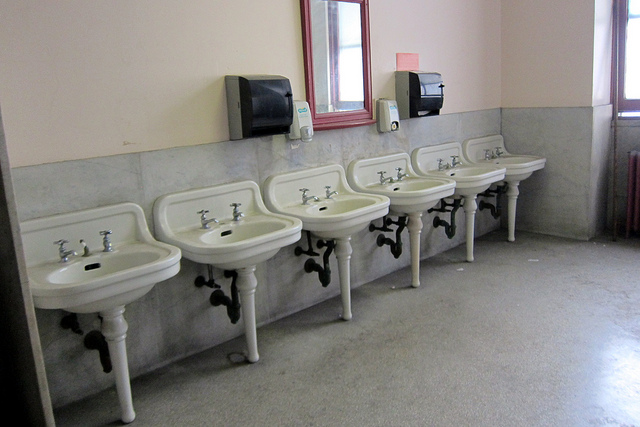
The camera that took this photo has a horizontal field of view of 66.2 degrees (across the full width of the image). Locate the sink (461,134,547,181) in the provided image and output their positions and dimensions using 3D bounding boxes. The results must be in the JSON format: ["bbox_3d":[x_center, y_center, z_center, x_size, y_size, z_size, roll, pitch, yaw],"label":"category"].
[{"bbox_3d":[1.989,-0.607,5.328,0.869,0.416,0.886,5,18,21],"label":"sink"}]

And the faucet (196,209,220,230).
[{"bbox_3d":[-0.806,0.048,3.470,0.164,0.114,0.093,10,16,38],"label":"faucet"}]

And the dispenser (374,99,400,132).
[{"bbox_3d":[0.596,-0.889,4.435,0.228,0.314,0.187,-14,17,-38],"label":"dispenser"}]

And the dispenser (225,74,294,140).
[{"bbox_3d":[-0.495,-0.814,3.667,0.525,0.462,0.308,-9,20,-41],"label":"dispenser"}]

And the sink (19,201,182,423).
[{"bbox_3d":[-1.260,0.621,3.079,0.817,1.301,0.584,-16,18,-28],"label":"sink"}]

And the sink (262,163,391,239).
[{"bbox_3d":[0.040,-0.091,3.836,0.645,0.473,0.925,12,21,37],"label":"sink"}]

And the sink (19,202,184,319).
[{"bbox_3d":[-1.347,0.357,2.999,0.903,0.582,0.615,-12,24,-43],"label":"sink"}]

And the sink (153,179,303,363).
[{"bbox_3d":[-0.705,0.235,3.606,1.052,1.270,0.833,-11,22,-42],"label":"sink"}]

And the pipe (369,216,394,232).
[{"bbox_3d":[0.547,0.097,4.434,0.217,0.214,0.098,3,9,33],"label":"pipe"}]

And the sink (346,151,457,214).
[{"bbox_3d":[0.760,-0.257,4.403,0.680,0.476,0.962,12,18,43],"label":"sink"}]

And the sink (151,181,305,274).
[{"bbox_3d":[-0.604,0.102,3.486,0.750,0.499,0.949,10,18,33],"label":"sink"}]

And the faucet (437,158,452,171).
[{"bbox_3d":[1.249,-0.490,4.948,0.080,0.092,0.155,-3,4,-1],"label":"faucet"}]

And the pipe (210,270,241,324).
[{"bbox_3d":[-0.666,0.581,3.559,0.213,0.400,0.136,8,13,25],"label":"pipe"}]

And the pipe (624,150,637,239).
[{"bbox_3d":[3.301,-0.190,5.226,0.069,0.919,0.256,3,19,32],"label":"pipe"}]

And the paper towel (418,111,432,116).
[{"bbox_3d":[0.989,-0.967,4.684,0.080,0.037,0.103,-1,4,9],"label":"paper towel"}]

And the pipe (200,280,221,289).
[{"bbox_3d":[-0.797,0.517,3.573,0.098,0.031,0.069,10,6,18],"label":"pipe"}]

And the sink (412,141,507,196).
[{"bbox_3d":[1.410,-0.449,4.894,0.969,0.469,0.712,-13,18,-40],"label":"sink"}]

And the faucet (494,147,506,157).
[{"bbox_3d":[2.014,-0.697,5.520,0.084,0.136,0.095,-12,19,32],"label":"faucet"}]

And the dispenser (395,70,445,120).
[{"bbox_3d":[0.939,-1.126,4.668,0.283,0.429,0.490,6,15,38],"label":"dispenser"}]

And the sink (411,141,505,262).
[{"bbox_3d":[1.428,-0.082,4.954,0.889,1.182,0.712,-16,18,-37],"label":"sink"}]

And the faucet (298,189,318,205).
[{"bbox_3d":[-0.105,-0.129,3.910,0.146,0.115,0.089,5,16,25],"label":"faucet"}]

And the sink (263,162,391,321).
[{"bbox_3d":[0.017,0.226,3.970,0.689,1.235,0.933,13,25,39],"label":"sink"}]

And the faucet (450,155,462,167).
[{"bbox_3d":[1.382,-0.534,5.084,0.090,0.106,0.125,-7,10,-39],"label":"faucet"}]

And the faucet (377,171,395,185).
[{"bbox_3d":[0.624,-0.327,4.446,0.177,0.118,0.094,9,17,44],"label":"faucet"}]

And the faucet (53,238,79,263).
[{"bbox_3d":[-1.557,0.225,2.997,0.138,0.130,0.094,8,19,14],"label":"faucet"}]

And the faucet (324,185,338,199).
[{"bbox_3d":[0.120,-0.184,4.058,0.124,0.109,0.064,9,20,42],"label":"faucet"}]

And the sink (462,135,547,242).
[{"bbox_3d":[2.044,-0.280,5.395,0.776,1.066,0.663,-18,20,-34],"label":"sink"}]

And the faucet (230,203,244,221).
[{"bbox_3d":[-0.603,-0.010,3.560,0.117,0.108,0.101,8,13,42],"label":"faucet"}]

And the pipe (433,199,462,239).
[{"bbox_3d":[1.264,0.022,4.881,0.230,0.462,0.138,11,29,22],"label":"pipe"}]
